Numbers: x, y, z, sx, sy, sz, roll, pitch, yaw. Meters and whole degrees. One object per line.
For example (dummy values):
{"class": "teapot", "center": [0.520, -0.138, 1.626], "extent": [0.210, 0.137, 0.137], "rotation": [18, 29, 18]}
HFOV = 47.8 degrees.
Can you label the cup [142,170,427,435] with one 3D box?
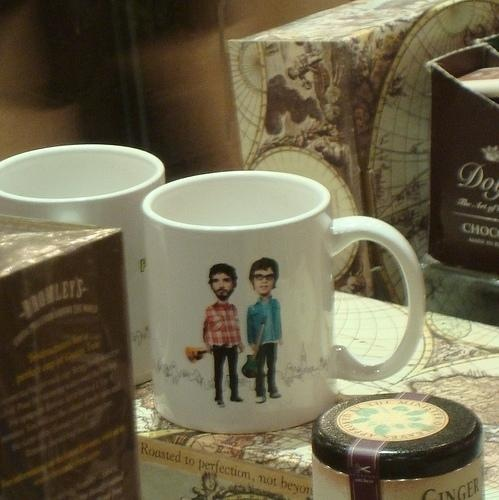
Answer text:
{"class": "cup", "center": [0.026, 0.029, 0.374], "extent": [0.183, 0.157, 0.135], "rotation": [-1, 15, 4]}
